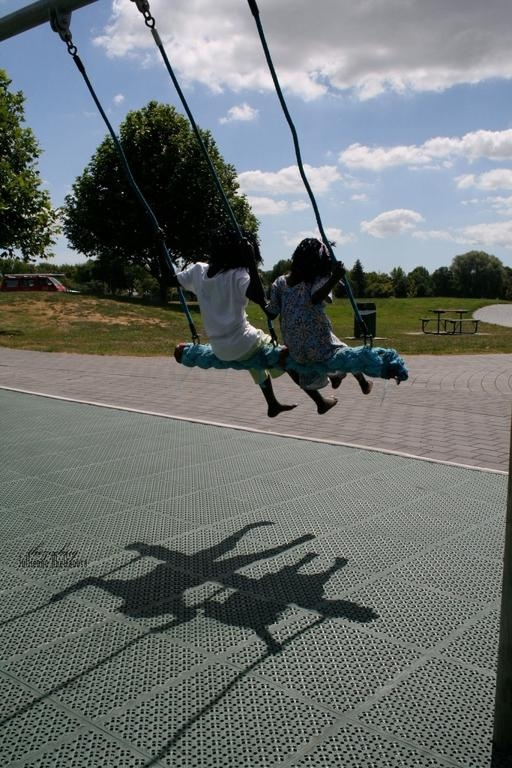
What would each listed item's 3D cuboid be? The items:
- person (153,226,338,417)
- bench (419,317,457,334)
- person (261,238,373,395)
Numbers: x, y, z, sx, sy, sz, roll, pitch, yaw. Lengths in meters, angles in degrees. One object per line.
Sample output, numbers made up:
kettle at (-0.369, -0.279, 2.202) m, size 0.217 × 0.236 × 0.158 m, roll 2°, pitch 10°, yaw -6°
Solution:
person at (-0.143, -0.411, 3.797) m, size 1.118 × 1.274 × 0.949 m, roll -3°, pitch -6°, yaw 20°
bench at (9.215, -2.959, 25.153) m, size 1.571 × 0.395 × 1.661 m, roll 1°, pitch 10°, yaw 17°
person at (0.368, -0.549, 3.267) m, size 0.367 × 0.796 × 0.719 m, roll -6°, pitch 9°, yaw -40°
